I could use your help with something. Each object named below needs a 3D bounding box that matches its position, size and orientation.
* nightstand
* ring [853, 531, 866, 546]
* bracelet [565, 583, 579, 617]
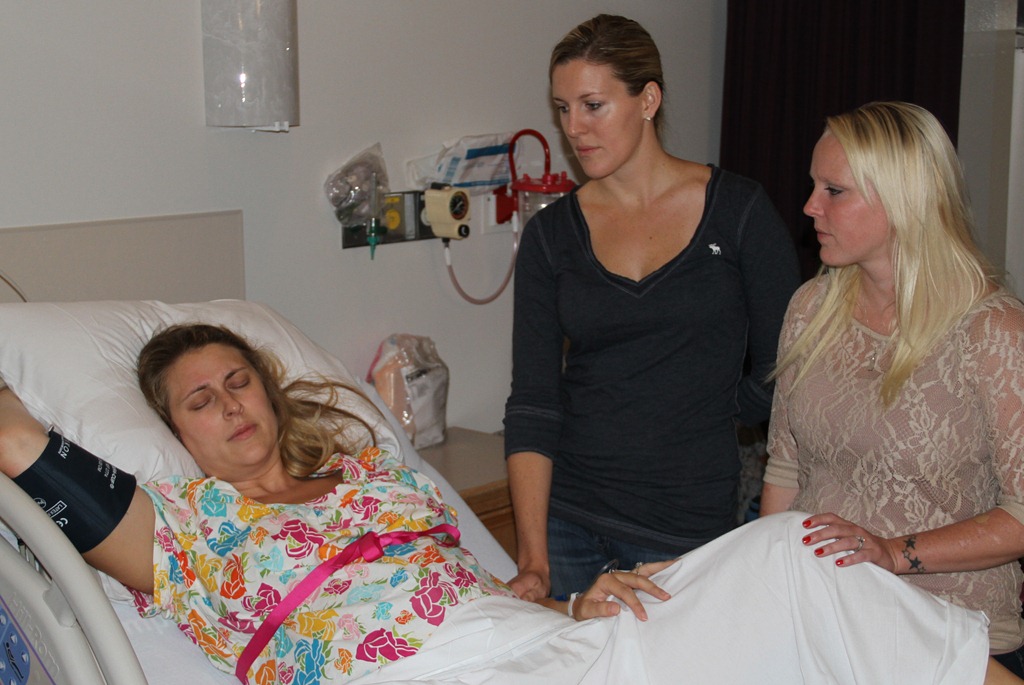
[{"bbox_3d":[-0.149,0.552,2.948,0.347,0.470,0.493,-8,12,-40],"label":"nightstand"},{"bbox_3d":[0.742,0.416,1.716,0.016,0.022,0.008,-3,-19,3],"label":"ring"},{"bbox_3d":[0.157,0.647,2.009,0.044,0.052,0.038,-1,-8,-7],"label":"bracelet"}]
